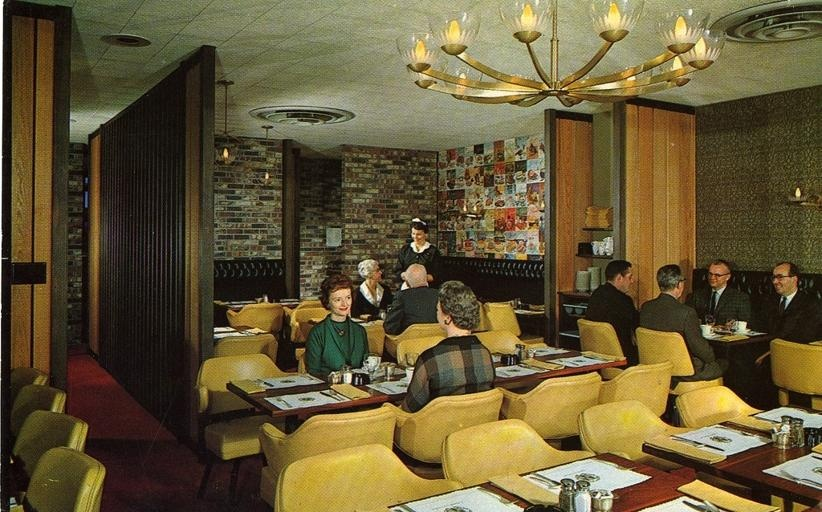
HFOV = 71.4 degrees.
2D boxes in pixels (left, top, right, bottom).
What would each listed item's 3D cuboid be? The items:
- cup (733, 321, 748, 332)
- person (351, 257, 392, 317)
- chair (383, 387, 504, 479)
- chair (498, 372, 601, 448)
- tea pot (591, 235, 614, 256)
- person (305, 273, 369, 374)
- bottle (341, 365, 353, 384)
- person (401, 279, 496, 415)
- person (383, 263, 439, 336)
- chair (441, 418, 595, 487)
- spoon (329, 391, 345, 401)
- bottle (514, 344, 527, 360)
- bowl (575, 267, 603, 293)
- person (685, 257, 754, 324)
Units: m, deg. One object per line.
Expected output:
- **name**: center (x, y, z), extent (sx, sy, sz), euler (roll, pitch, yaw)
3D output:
- **cup**: center (3.590, 0.767, 6.231), extent (0.129, 0.084, 0.119), euler (-3, -3, 0)
- **person**: center (-0.610, 0.445, 8.283), extent (0.385, 1.003, 0.864), euler (0, 4, 22)
- **chair**: center (0.226, 1.117, 4.024), extent (0.664, 0.594, 0.571), euler (-3, 13, -23)
- **chair**: center (1.010, 1.024, 4.292), extent (0.619, 0.597, 0.566), euler (-4, 10, -23)
- **tea pot**: center (2.659, -0.128, 7.928), extent (0.326, 0.272, 0.198), euler (2, -1, 35)
- **person**: center (-0.642, 0.556, 4.791), extent (0.520, 0.797, 0.257), euler (-3, 3, -6)
- **bottle**: center (-0.472, 0.921, 4.421), extent (0.111, 0.128, 0.112), euler (-5, -9, 39)
- **person**: center (0.297, 0.694, 4.183), extent (0.748, 0.952, 0.632), euler (-3, 5, -28)
- **person**: center (0.019, 0.513, 6.714), extent (0.742, 0.996, 0.560), euler (-2, 30, -2)
- **chair**: center (0.549, 1.130, 3.305), extent (0.543, 0.574, 0.491), euler (4, -30, -29)
- **spoon**: center (-0.525, 0.996, 4.060), extent (0.046, 0.018, 0.141), euler (-12, 9, -27)
- **bottle**: center (0.990, 0.850, 5.085), extent (0.118, 0.161, 0.104), euler (3, -6, -32)
- **bowl**: center (2.517, 0.324, 8.043), extent (0.448, 0.337, 0.260), euler (2, 1, 39)
- **person**: center (3.803, 0.433, 6.985), extent (0.477, 0.691, 0.774), euler (13, -10, -28)
